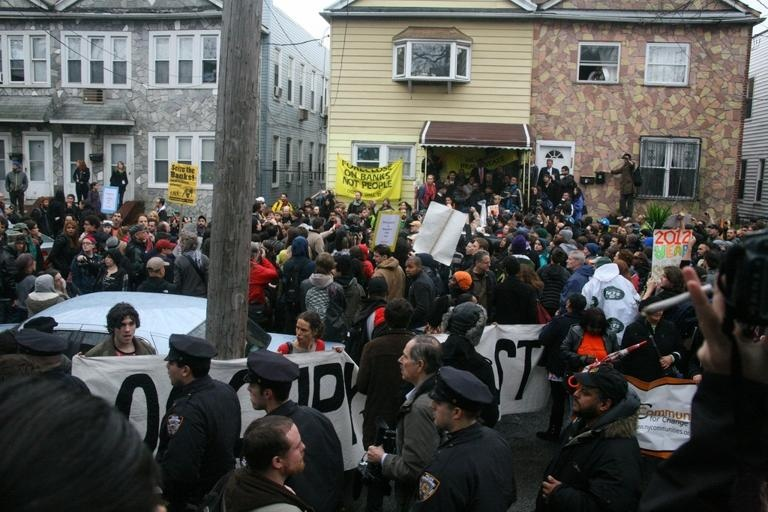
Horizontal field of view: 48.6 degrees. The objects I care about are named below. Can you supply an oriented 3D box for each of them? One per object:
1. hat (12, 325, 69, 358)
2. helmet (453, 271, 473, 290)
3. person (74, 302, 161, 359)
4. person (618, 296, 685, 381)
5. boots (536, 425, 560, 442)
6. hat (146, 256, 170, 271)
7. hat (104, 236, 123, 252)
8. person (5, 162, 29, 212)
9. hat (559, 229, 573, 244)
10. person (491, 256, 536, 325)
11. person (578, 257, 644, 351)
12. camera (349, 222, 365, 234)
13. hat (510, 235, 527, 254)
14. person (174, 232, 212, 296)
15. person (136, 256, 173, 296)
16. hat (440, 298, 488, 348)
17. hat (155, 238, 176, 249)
[{"bbox_3d":[-4.204,1.074,10.427,0.421,0.127,0.371,12,9,-30],"label":"hat"},{"bbox_3d":[1.293,0.375,13.861,0.226,0.262,0.312,-31,44,-32],"label":"helmet"},{"bbox_3d":[-3.639,0.953,11.510,1.114,0.953,0.652,-1,-1,-24],"label":"person"},{"bbox_3d":[3.864,1.239,12.136,1.299,1.345,0.758,1,-8,-3],"label":"person"},{"bbox_3d":[2.593,2.767,13.375,0.347,0.345,0.167,10,23,16],"label":"boots"},{"bbox_3d":[-3.817,0.141,14.308,0.237,0.200,0.373,-1,11,0],"label":"hat"},{"bbox_3d":[-4.851,-0.153,15.276,0.348,0.102,0.350,-15,42,-15],"label":"hat"},{"bbox_3d":[-12.253,-2.281,28.346,0.604,1.526,1.194,0,4,-24],"label":"person"},{"bbox_3d":[3.749,-0.400,17.272,0.222,0.312,0.246,-7,52,-28],"label":"hat"},{"bbox_3d":[2.128,0.673,14.019,0.792,1.330,0.463,2,24,12],"label":"person"},{"bbox_3d":[3.726,0.751,13.797,0.936,1.528,0.426,2,40,33],"label":"person"},{"bbox_3d":[-0.548,-0.507,17.580,0.342,0.236,0.188,-2,15,-10],"label":"camera"},{"bbox_3d":[2.571,-0.220,16.007,0.278,0.352,0.349,5,17,10],"label":"hat"},{"bbox_3d":[-3.385,0.139,14.902,0.568,1.072,0.595,0,4,-14],"label":"person"},{"bbox_3d":[-3.811,0.309,14.374,0.753,0.676,0.540,6,20,-2],"label":"person"},{"bbox_3d":[1.150,0.883,11.801,0.589,0.603,0.679,13,18,40],"label":"hat"},{"bbox_3d":[-3.896,-0.176,15.287,0.299,0.111,0.191,-7,21,-29],"label":"hat"}]
